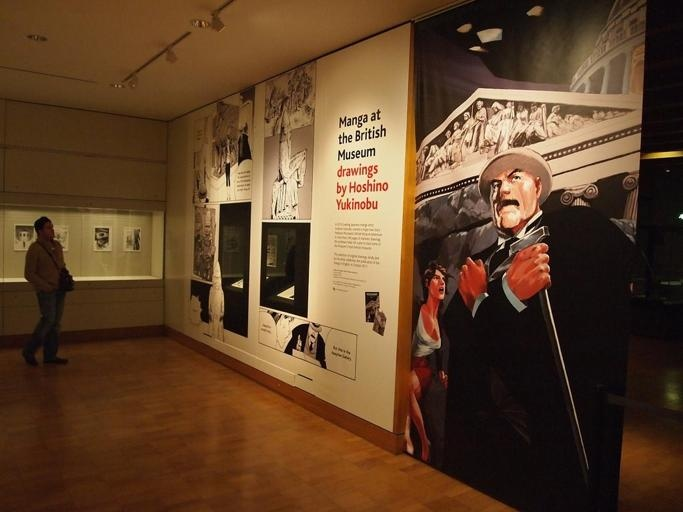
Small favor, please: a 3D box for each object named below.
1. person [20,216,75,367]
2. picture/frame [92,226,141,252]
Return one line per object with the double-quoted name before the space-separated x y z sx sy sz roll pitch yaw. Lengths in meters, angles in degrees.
"person" -4.284 0.525 7.230 0.627 2.162 0.336 -3 6 -40
"picture/frame" -4.271 -0.337 9.489 0.852 0.488 0.050 -4 6 -39
